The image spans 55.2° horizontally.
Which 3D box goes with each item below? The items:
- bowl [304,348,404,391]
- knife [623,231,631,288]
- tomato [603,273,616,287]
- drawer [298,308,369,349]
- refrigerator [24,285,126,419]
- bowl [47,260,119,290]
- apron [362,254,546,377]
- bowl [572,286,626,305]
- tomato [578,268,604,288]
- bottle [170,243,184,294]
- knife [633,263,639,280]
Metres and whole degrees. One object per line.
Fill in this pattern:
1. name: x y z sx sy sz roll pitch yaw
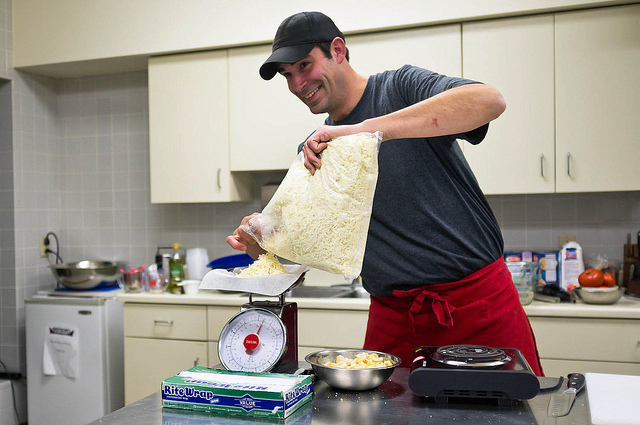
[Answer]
1. bowl: 0.142 0.675 2.619 0.400 0.100 0.222 -2 -1 6
2. knife: 2.068 0.335 4.126 0.044 0.370 0.070 1 -1 12
3. tomato: 1.799 0.426 3.821 0.070 0.074 0.068 1 3 8
4. drawer: 0.104 0.718 4.062 0.489 0.282 0.363 1 3 19
5. refrigerator: -1.794 1.056 4.456 0.690 0.885 0.214 -2 -1 9
6. bowl: -1.805 0.498 4.655 0.503 0.200 0.516 1 1 0
7. apron: 0.623 0.537 3.138 0.851 0.600 0.555 -7 13 17
8. bowl: 1.723 0.517 3.765 0.281 0.097 0.122 -2 -1 -6
9. tomato: 1.690 0.416 3.825 0.105 0.085 0.114 -27 8 -26
10. bottle: -1.050 0.412 4.510 0.103 0.344 0.489 -1 -1 -13
11. knife: 2.068 0.393 4.018 0.068 0.091 0.023 -1 -1 -36
